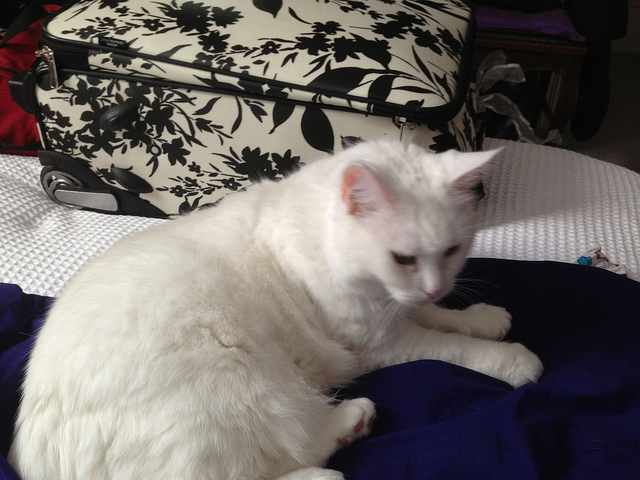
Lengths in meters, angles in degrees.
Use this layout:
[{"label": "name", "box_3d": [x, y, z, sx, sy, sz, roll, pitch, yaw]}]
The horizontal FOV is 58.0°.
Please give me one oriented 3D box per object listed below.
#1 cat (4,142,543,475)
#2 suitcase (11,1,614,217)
[{"label": "cat", "box_3d": [-0.025, 0.173, 1.052, 0.859, 0.386, 0.497, -14, 43, -8]}, {"label": "suitcase", "box_3d": [-0.026, -0.270, 1.395, 1.118, 0.315, 0.883, 4, 26, 9]}]
